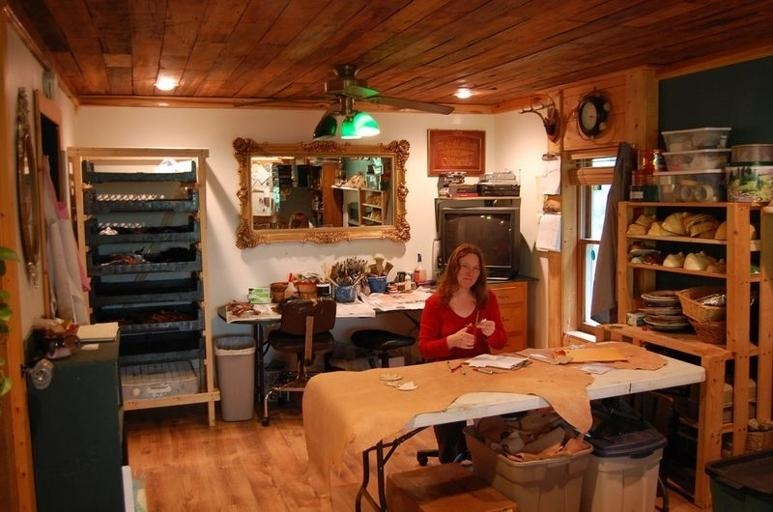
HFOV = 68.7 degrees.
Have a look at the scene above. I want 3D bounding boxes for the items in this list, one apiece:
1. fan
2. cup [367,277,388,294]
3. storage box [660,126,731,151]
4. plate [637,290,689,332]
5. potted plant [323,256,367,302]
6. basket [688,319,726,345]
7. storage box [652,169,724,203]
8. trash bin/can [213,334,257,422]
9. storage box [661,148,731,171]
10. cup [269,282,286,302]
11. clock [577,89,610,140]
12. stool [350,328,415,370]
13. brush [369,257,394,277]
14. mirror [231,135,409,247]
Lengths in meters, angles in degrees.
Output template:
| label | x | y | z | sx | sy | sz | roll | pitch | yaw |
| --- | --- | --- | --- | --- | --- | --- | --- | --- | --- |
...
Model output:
| label | x | y | z | sx | sy | sz | roll | pitch | yaw |
| --- | --- | --- | --- | --- | --- | --- | --- | --- | --- |
| fan | -0.244 | -1.227 | 4.347 | 1.041 | 0.268 | 1.097 | 2 | 5 | 34 |
| cup | -0.087 | 0.320 | 6.183 | 0.194 | 0.128 | 0.195 | -1 | 0 | 0 |
| storage box | 2.338 | -0.842 | 4.300 | 0.263 | 0.136 | 0.356 | -4 | 5 | -27 |
| plate | 2.188 | 0.432 | 4.485 | 0.346 | 0.205 | 0.317 | -1 | -1 | 2 |
| potted plant | -0.409 | 0.249 | 6.064 | 0.486 | 0.395 | 0.449 | 0 | -3 | 2 |
| basket | 2.337 | 0.547 | 4.087 | 0.192 | 0.082 | 0.177 | 2 | 0 | -35 |
| storage box | 2.273 | -0.524 | 4.260 | 0.238 | 0.154 | 0.351 | -1 | 3 | -26 |
| trash bin/can | -1.441 | 1.218 | 5.501 | 0.390 | 0.712 | 0.272 | -7 | 13 | -15 |
| storage box | 2.327 | -0.708 | 4.273 | 0.203 | 0.102 | 0.288 | -2 | 3 | -29 |
| cup | -1.093 | 0.375 | 5.821 | 0.201 | 0.174 | 0.197 | 1 | -4 | 0 |
| clock | 1.927 | -1.317 | 5.243 | 0.083 | 0.500 | 0.548 | -3 | 5 | -19 |
| stool | -0.064 | 0.859 | 5.812 | 0.445 | 0.484 | 0.551 | 1 | 0 | -35 |
| brush | -0.073 | 0.137 | 6.274 | 0.253 | 0.207 | 0.101 | 12 | -8 | -9 |
| mirror | -0.798 | -0.734 | 6.113 | 1.469 | 0.794 | 0.065 | -2 | 10 | -18 |
